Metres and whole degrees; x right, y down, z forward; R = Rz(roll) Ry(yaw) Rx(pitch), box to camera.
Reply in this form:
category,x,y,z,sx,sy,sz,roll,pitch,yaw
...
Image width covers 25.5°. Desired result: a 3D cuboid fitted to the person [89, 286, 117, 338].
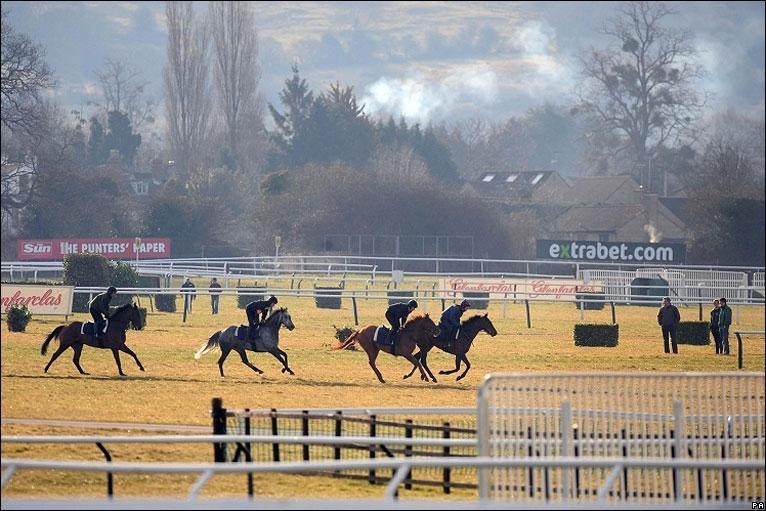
category,x,y,z,sx,sy,sz,roll,pitch,yaw
person,-14.776,3.037,88.924,1.153,2.640,0.814,1,-2,-9

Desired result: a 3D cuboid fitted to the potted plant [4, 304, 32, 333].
category,x,y,z,sx,sy,sz,roll,pitch,yaw
potted plant,-20.523,3.666,95.374,1.285,1.585,0.797,1,-3,-15

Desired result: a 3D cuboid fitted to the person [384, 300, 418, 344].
category,x,y,z,sx,sy,sz,roll,pitch,yaw
person,0.836,3.509,88.690,1.444,2.236,0.622,1,-2,0

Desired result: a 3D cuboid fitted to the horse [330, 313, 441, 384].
category,x,y,z,sx,sy,sz,roll,pitch,yaw
horse,0.218,5.085,89.756,6.268,3.747,1.567,-2,-6,31

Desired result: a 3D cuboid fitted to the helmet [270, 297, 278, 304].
category,x,y,z,sx,sy,sz,roll,pitch,yaw
helmet,-5.763,2.408,89.026,0.404,0.373,0.309,-8,19,-32

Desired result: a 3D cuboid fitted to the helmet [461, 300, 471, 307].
category,x,y,z,sx,sy,sz,roll,pitch,yaw
helmet,4.215,2.606,89.090,0.493,0.489,0.378,0,-2,28

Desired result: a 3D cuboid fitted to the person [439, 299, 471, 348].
category,x,y,z,sx,sy,sz,roll,pitch,yaw
person,3.583,3.678,88.936,1.367,2.321,0.429,0,-2,2
